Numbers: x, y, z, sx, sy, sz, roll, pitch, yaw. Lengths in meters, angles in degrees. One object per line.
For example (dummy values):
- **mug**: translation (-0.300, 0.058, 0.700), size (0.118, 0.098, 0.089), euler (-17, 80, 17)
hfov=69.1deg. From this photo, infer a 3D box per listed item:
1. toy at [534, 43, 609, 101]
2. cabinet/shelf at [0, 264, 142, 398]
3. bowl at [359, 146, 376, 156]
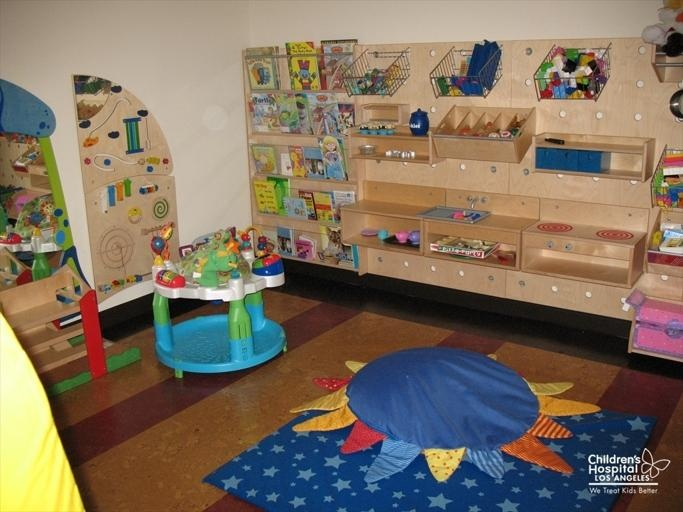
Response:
- **toy**: translation (2.012, -1.585, 4.307), size (0.509, 0.476, 0.349), euler (16, -10, 24)
- **cabinet/shelf**: translation (-2.349, 0.591, 4.295), size (0.709, 0.863, 0.847), euler (13, 23, 43)
- **bowl**: translation (0.283, -1.163, 5.399), size (0.134, 0.055, 0.131), euler (-1, 20, 0)
